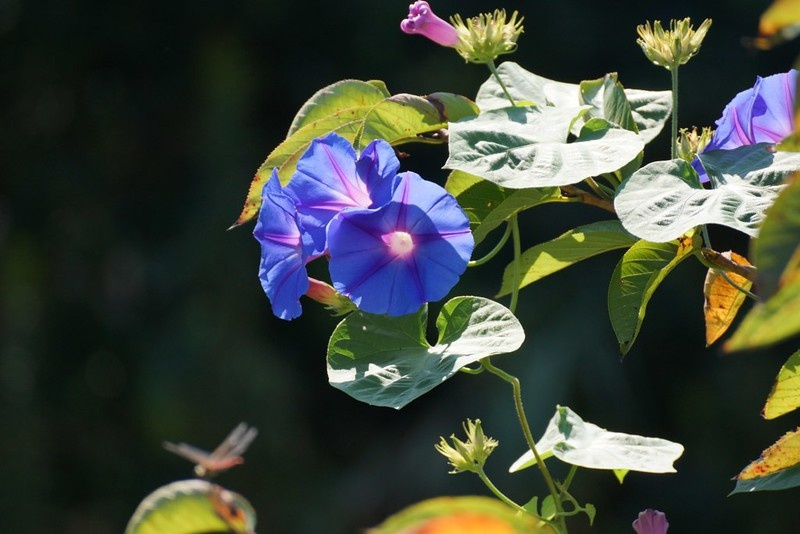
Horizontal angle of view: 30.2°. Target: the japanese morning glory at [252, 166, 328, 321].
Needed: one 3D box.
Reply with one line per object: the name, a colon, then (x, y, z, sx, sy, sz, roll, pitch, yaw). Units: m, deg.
japanese morning glory: (-0.598, -0.088, 7.515, 0.271, 0.651, 0.477, -6, -2, -40)
